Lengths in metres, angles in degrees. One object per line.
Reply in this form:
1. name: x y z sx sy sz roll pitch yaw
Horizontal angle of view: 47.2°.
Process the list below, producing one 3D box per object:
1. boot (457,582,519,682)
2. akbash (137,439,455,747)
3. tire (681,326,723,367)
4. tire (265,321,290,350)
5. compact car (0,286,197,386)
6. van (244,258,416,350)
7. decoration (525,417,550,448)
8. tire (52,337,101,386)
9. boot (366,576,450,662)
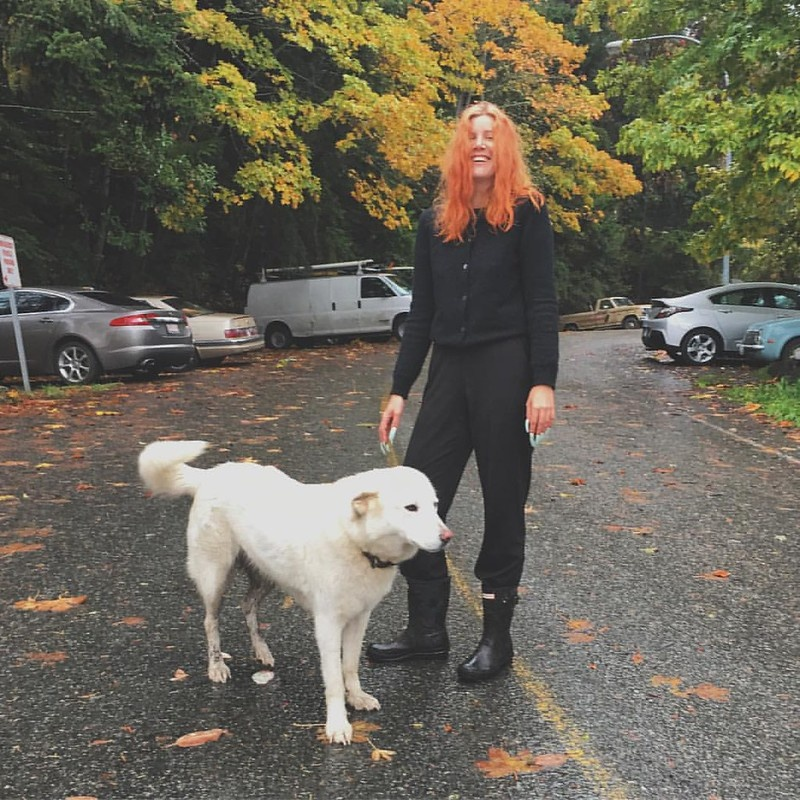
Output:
1. boot: 0.392 1.075 4.219 0.218 0.339 0.452 7 8 31
2. akbash: -0.460 0.783 4.124 1.896 1.041 0.617 6 7 38
3. tire: 5.512 -1.000 16.784 0.967 0.696 0.292 -4 0 5
4. tire: -3.142 -1.672 23.599 0.829 0.620 0.262 11 17 16
5. compact car: -4.742 -0.998 14.261 2.490 1.455 1.007 0 11 -1
6. van: -1.407 -2.580 23.623 4.980 1.729 2.352 -2 15 15
7. decoration: 0.593 0.150 4.042 0.092 0.142 0.194 1 10 7
8. tire: -4.945 -0.617 14.002 0.877 0.643 0.282 7 9 14
9. boot: 0.071 1.087 4.439 0.491 0.366 0.210 -12 -23 31
